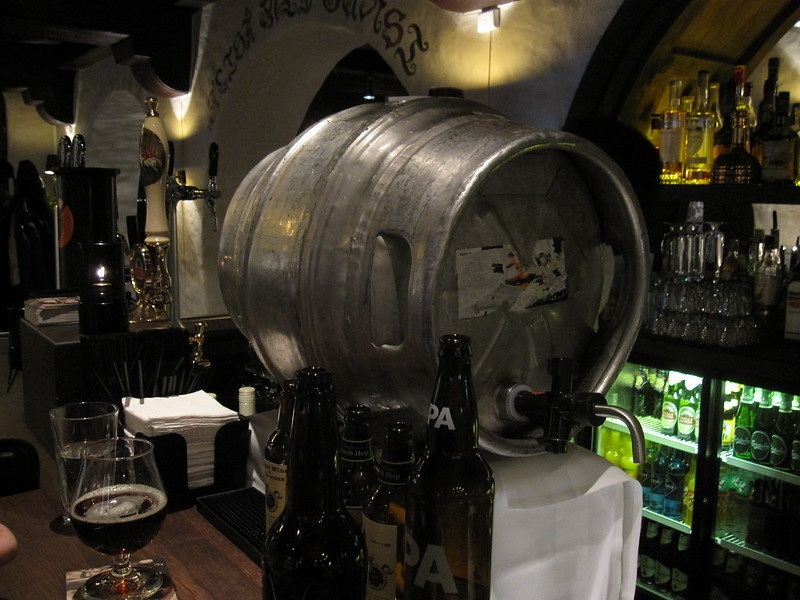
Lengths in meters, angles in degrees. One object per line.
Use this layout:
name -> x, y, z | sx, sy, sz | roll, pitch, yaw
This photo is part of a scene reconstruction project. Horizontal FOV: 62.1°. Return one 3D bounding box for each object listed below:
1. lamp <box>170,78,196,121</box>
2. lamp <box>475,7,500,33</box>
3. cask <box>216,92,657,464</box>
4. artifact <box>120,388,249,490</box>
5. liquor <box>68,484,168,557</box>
lamp -> -1.547, -1.457, 4.873 | 0.185, 0.322, 0.194 | -5, 1, -10
lamp -> 0.338, -1.053, 2.508 | 0.067, 0.078, 0.139 | -7, 12, -31
cask -> 0.090, 0.134, 1.355 | 0.590, 0.878, 0.698 | 10, -26, -5
artifact -> -0.488, 0.265, 1.481 | 0.202, 0.151, 0.203 | -3, 7, -28
liquor -> -0.453, 0.380, 1.077 | 0.139, 0.109, 0.138 | -1, 8, -37
